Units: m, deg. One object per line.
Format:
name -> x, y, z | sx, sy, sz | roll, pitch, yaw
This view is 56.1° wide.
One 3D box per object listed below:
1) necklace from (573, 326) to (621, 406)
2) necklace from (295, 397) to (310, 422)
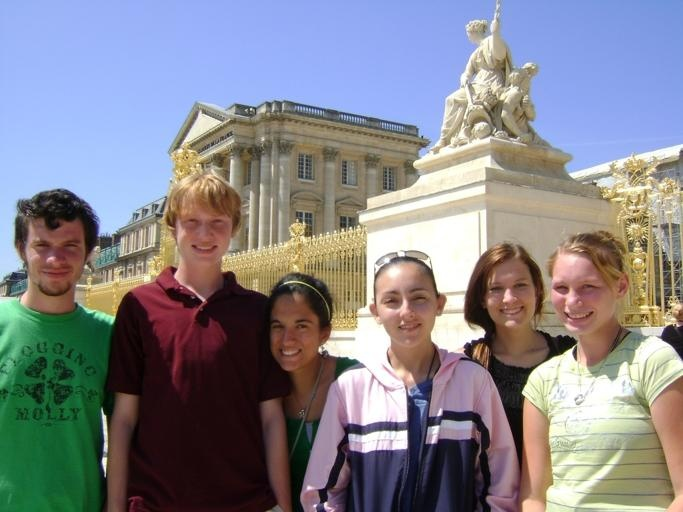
necklace -> 1.375, 0.609, 3.420 | 0.263, 0.387, 0.090 | 17, -20, 19
necklace -> -0.228, 0.940, 3.903 | 0.085, 0.125, 0.029 | 3, -23, 7
